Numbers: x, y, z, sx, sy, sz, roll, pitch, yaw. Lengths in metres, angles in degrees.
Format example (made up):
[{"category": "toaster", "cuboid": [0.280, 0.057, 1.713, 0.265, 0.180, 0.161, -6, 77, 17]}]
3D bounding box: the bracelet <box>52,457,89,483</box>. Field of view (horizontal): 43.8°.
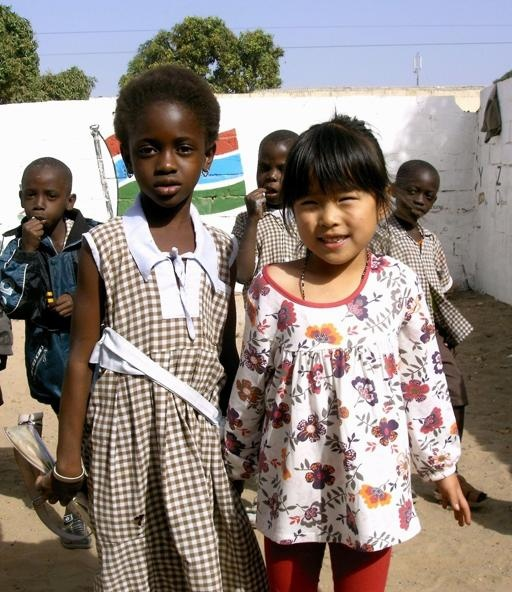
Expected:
[{"category": "bracelet", "cuboid": [-0.457, 0.437, 1.574, 0.084, 0.059, 0.069, -7, 13, -22]}]
